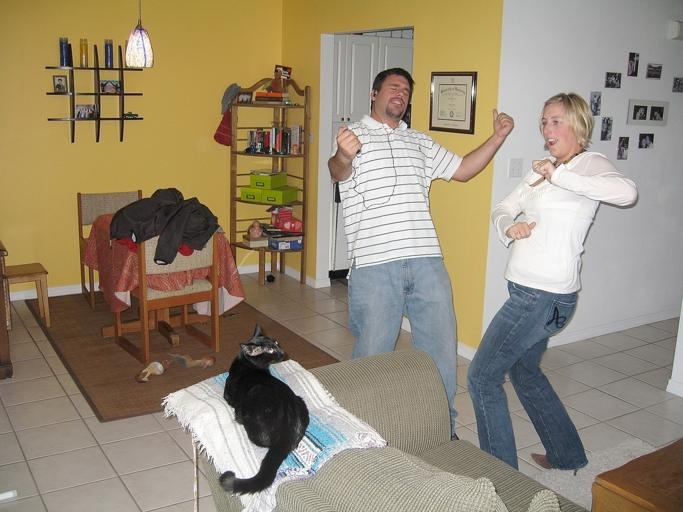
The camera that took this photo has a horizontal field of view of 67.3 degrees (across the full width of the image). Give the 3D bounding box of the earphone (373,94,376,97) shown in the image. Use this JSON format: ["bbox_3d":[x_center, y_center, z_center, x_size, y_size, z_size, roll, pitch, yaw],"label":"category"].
[{"bbox_3d":[0.173,-0.865,2.750,0.005,0.019,0.019,2,3,-38],"label":"earphone"}]

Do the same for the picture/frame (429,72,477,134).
[{"bbox_3d":[0.953,-1.310,4.351,0.041,0.558,0.542,-5,10,-40],"label":"picture/frame"}]

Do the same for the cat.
[{"bbox_3d":[-0.266,0.505,1.710,0.292,0.202,0.426,-16,45,-22],"label":"cat"}]

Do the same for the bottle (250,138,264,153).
[{"bbox_3d":[-1.011,-1.316,6.093,0.186,0.188,0.052,5,-2,-9],"label":"bottle"}]

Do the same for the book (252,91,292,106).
[{"bbox_3d":[-0.821,-1.882,6.103,0.431,0.161,0.241,0,15,-6],"label":"book"}]

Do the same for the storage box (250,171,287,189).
[{"bbox_3d":[-0.901,-0.914,6.127,0.267,0.118,0.270,6,13,24],"label":"storage box"}]

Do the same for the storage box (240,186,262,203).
[{"bbox_3d":[-1.099,-0.738,6.131,0.350,0.184,0.113,13,18,37],"label":"storage box"}]

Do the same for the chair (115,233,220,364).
[{"bbox_3d":[-1.481,0.272,4.417,0.839,1.056,0.808,-9,17,-34],"label":"chair"}]

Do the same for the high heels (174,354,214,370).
[{"bbox_3d":[-1.167,0.823,4.043,0.239,0.088,0.158,29,-5,-20],"label":"high heels"}]

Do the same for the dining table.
[{"bbox_3d":[-1.723,0.051,4.561,0.979,0.567,1.177,-8,35,-26],"label":"dining table"}]

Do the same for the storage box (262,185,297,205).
[{"bbox_3d":[-0.689,-0.716,6.145,0.504,0.201,0.194,-11,19,-37],"label":"storage box"}]

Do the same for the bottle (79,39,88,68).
[{"bbox_3d":[-2.726,-2.155,5.443,0.091,0.295,0.156,-5,16,-25],"label":"bottle"}]

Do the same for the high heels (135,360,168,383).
[{"bbox_3d":[-1.434,0.873,3.899,0.198,0.093,0.120,-34,56,-18],"label":"high heels"}]
